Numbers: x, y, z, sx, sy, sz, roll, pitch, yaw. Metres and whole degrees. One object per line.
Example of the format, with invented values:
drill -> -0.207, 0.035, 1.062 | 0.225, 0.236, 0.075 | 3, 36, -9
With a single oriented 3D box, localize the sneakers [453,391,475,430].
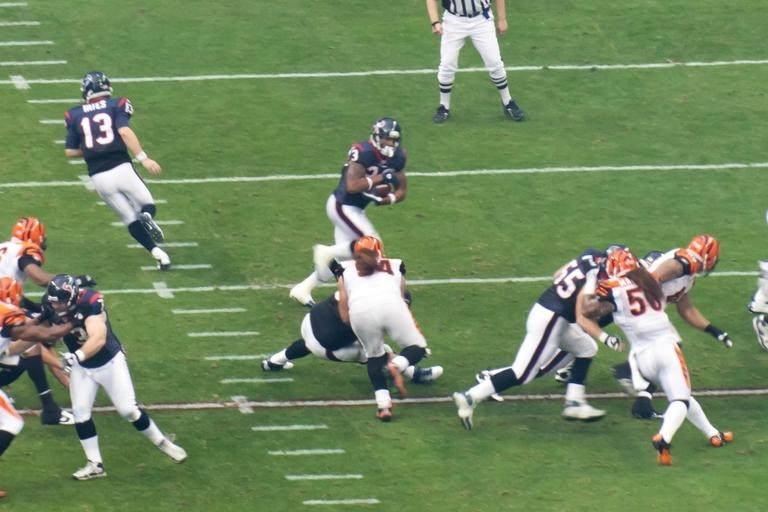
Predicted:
sneakers -> 0.831, 1.601, 14.959 | 0.197, 0.399, 0.198 | -3, 4, 7

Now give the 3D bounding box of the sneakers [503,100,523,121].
sneakers -> 1.788, -1.987, 19.768 | 0.365, 0.169, 0.162 | 38, -3, 26

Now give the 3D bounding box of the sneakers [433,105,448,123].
sneakers -> 0.757, -1.946, 19.743 | 0.147, 0.126, 0.315 | 5, 21, 12

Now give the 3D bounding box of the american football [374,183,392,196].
american football -> -0.015, -0.775, 16.473 | 0.150, 0.098, 0.132 | -2, 14, 16

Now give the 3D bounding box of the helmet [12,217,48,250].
helmet -> -3.839, -0.257, 15.900 | 0.355, 0.322, 0.397 | 17, 9, 12

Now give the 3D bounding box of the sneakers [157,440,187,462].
sneakers -> -2.107, 1.947, 14.647 | 0.334, 0.183, 0.119 | 30, 35, -4

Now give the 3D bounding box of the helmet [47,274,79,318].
helmet -> -3.095, 0.396, 14.383 | 0.386, 0.364, 0.385 | 2, -20, -2

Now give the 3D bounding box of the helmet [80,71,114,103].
helmet -> -3.361, -2.037, 17.296 | 0.437, 0.377, 0.457 | -11, 17, -24

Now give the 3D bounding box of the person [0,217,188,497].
person -> -2.932, 1.169, 14.456 | 1.029, 1.888, 1.325 | -24, 37, -26

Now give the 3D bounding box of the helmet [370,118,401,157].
helmet -> 0.020, -1.330, 16.288 | 0.293, 0.459, 0.239 | -17, 35, -18

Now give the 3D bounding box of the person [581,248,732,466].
person -> 2.772, 1.081, 14.757 | 0.904, 1.598, 1.545 | -18, 34, -19

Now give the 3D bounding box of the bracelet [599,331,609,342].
bracelet -> 2.237, 0.823, 14.741 | 0.089, 0.093, 0.033 | 9, -11, 29

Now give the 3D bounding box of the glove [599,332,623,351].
glove -> 2.330, 0.871, 14.760 | 0.214, 0.185, 0.152 | 10, 35, 22

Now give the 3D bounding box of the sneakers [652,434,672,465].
sneakers -> 2.768, 1.940, 14.417 | 0.193, 0.322, 0.142 | -11, 2, -21

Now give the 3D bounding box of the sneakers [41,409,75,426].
sneakers -> -3.408, 1.699, 15.076 | 0.469, 0.150, 0.156 | -3, 32, -14

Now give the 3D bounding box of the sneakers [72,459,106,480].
sneakers -> -2.934, 2.132, 14.433 | 0.357, 0.133, 0.142 | -5, 28, -24

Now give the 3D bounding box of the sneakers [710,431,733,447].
sneakers -> 3.432, 1.864, 14.732 | 0.252, 0.092, 0.109 | -9, 60, 10

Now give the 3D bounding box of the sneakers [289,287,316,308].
sneakers -> -0.965, 0.459, 16.672 | 0.363, 0.147, 0.173 | 25, 0, -18

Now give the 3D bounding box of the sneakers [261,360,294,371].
sneakers -> -1.182, 1.197, 15.847 | 0.388, 0.097, 0.140 | -1, 1, -9

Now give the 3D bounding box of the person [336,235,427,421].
person -> -0.025, 0.749, 15.153 | 0.850, 1.712, 1.168 | -6, 33, -2

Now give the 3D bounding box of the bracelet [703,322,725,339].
bracelet -> 3.522, 0.798, 15.560 | 0.225, 0.129, 0.117 | 32, 7, 6
